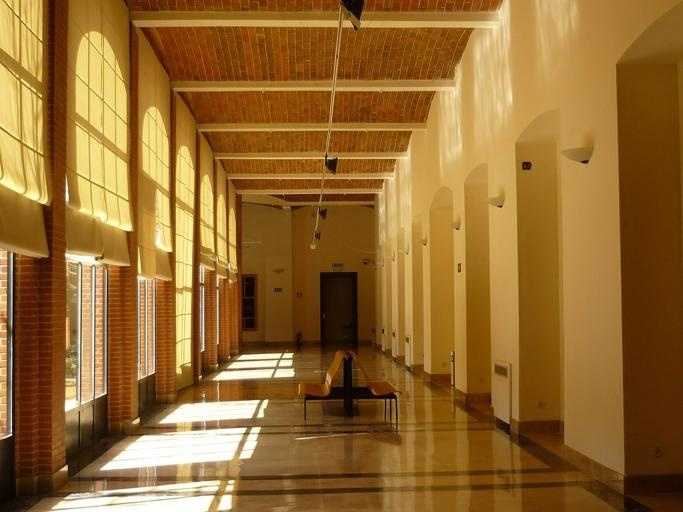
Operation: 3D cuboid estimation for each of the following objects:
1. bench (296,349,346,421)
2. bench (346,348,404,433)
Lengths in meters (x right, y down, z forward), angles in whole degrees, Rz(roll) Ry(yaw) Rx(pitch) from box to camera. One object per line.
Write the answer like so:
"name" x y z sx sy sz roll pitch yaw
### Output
"bench" -0.398 2.228 10.153 0.608 0.987 0.903 6 -2 -7
"bench" 0.520 2.314 10.500 0.811 1.378 1.327 0 -2 -2
